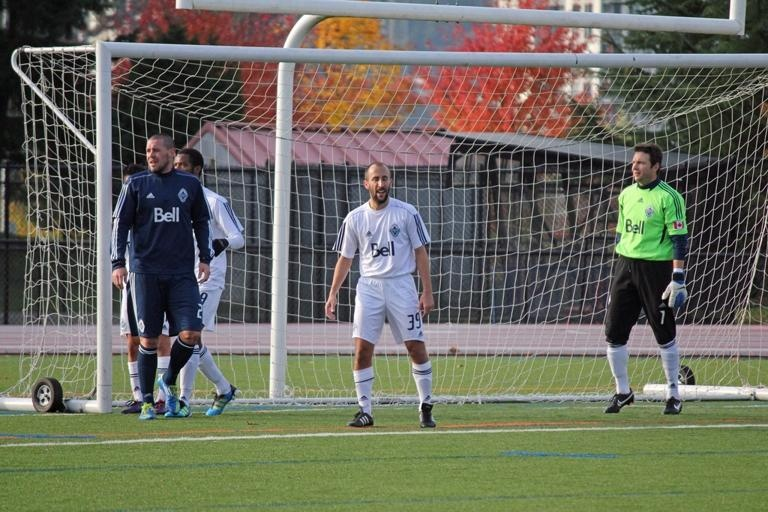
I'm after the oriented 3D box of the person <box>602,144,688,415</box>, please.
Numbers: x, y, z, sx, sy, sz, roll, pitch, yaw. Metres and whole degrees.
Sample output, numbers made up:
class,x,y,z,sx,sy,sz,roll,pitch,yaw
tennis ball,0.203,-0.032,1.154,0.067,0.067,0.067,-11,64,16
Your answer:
class,x,y,z,sx,sy,sz,roll,pitch,yaw
person,3.355,0.291,16.674,1.136,3.472,0.590,-4,-3,22

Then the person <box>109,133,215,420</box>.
class,x,y,z,sx,sy,sz,roll,pitch,yaw
person,-2.733,0.253,16.097,1.202,3.490,0.424,-3,-3,-6

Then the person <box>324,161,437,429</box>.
class,x,y,z,sx,sy,sz,roll,pitch,yaw
person,-0.016,0.487,15.986,1.194,3.256,0.542,-3,-3,1

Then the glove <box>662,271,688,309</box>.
class,x,y,z,sx,sy,sz,roll,pitch,yaw
glove,3.734,0.423,16.400,0.157,0.437,0.330,-11,38,-40

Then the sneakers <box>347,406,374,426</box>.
class,x,y,z,sx,sy,sz,roll,pitch,yaw
sneakers,-0.267,2.004,16.007,0.139,0.197,0.400,-5,-10,34
